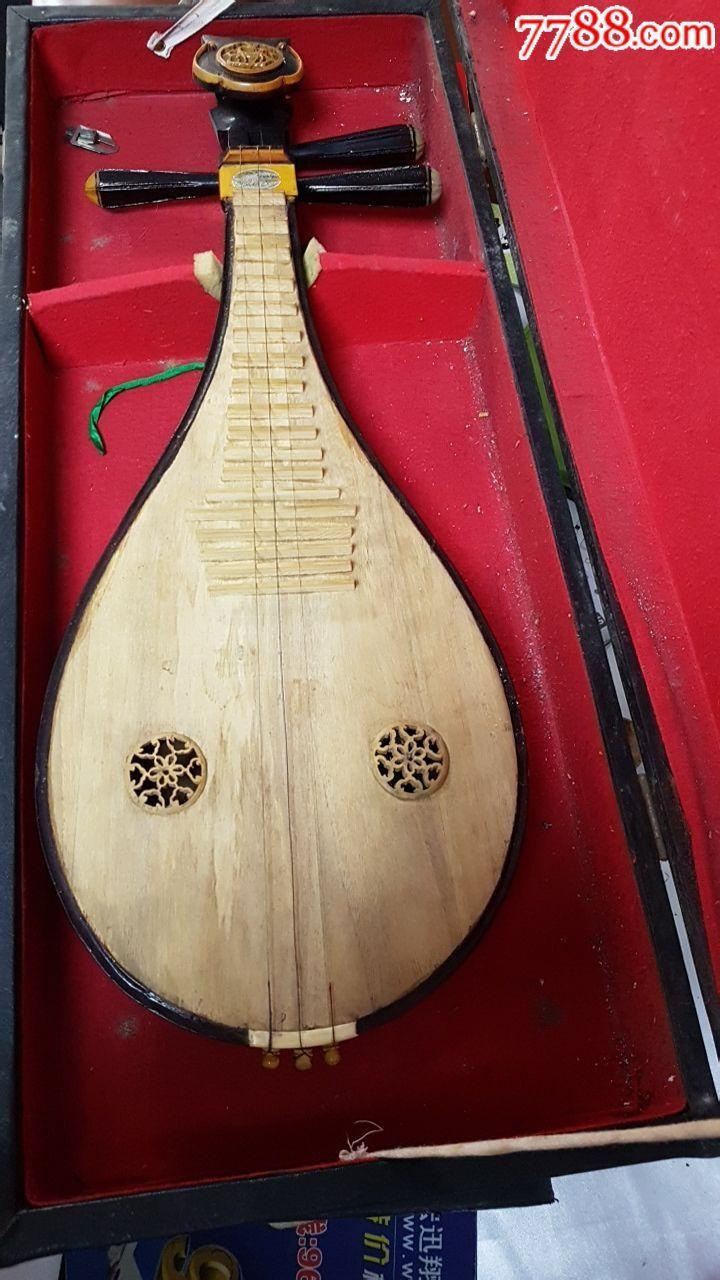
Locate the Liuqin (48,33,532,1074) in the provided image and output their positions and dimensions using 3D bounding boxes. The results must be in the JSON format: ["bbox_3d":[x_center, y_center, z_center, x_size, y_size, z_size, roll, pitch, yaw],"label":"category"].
[{"bbox_3d":[-0.091,-0.076,1.198,0.370,0.983,0.213,0,-19,-5],"label":"Liuqin"}]
